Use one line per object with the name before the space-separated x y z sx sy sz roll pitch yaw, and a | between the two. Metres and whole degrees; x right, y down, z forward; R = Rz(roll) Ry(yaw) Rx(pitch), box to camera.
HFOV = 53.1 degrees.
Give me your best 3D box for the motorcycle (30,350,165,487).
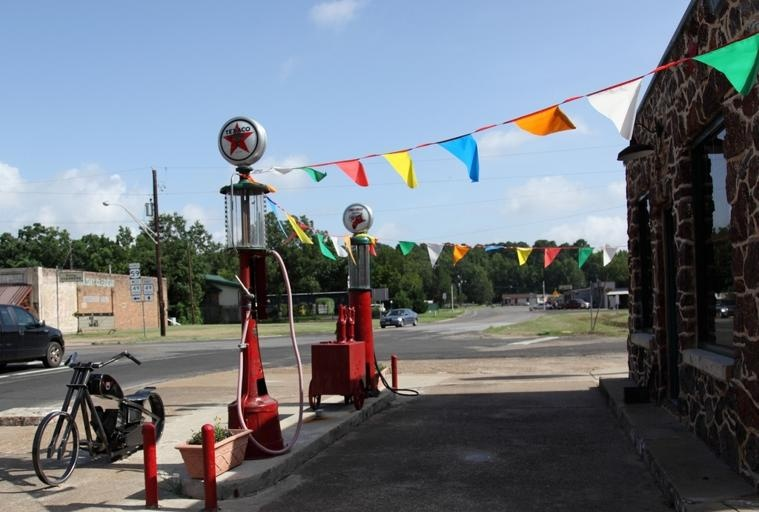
motorcycle | -3.876 2.185 10.593 0.967 1.606 2.771 -4 -4 18
